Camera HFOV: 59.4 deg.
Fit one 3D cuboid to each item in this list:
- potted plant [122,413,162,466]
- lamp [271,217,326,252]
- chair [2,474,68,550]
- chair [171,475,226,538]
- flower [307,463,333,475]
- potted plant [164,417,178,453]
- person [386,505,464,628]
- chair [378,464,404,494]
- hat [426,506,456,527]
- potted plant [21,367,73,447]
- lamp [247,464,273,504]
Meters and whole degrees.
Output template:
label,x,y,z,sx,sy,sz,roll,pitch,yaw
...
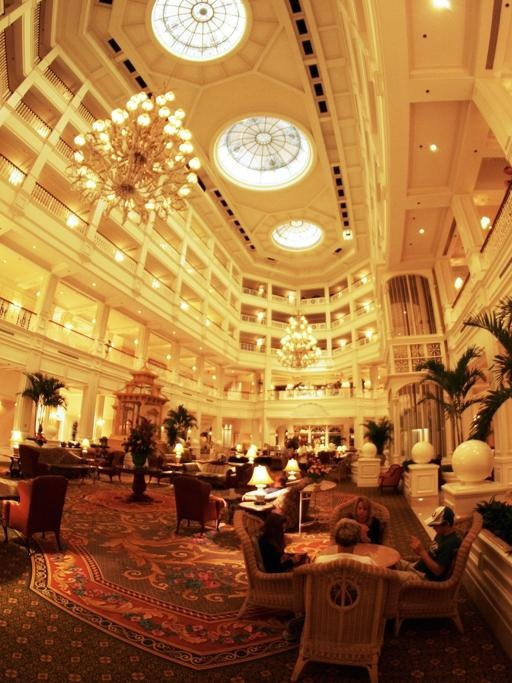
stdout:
label,x,y,z,sx,sy,sz,roll,pitch,yaw
potted plant,-2.253,1.965,8.816,0.486,0.962,0.618,1,-14,5
lamp,2.381,-6.051,25.769,2.806,0.814,2.861,2,-13,-1
chair,-2.350,1.783,4.693,0.612,0.761,0.479,4,-14,-10
chair,-0.818,2.266,6.278,0.697,0.743,0.520,7,-14,-19
flower,1.202,2.430,8.568,0.384,0.212,0.475,1,-13,5
potted plant,-3.302,3.530,17.356,0.540,1.147,1.008,5,-14,-11
person,1.263,1.696,3.395,0.489,0.836,0.372,9,-7,1
chair,3.446,3.483,11.458,0.598,0.691,1.195,-1,-14,14
hat,1.389,1.304,3.404,0.227,0.126,0.148,0,-8,3
potted plant,-5.738,1.708,11.975,0.972,1.930,1.998,7,-14,-19
lamp,0.055,1.801,5.721,0.276,0.459,0.491,2,-14,0
